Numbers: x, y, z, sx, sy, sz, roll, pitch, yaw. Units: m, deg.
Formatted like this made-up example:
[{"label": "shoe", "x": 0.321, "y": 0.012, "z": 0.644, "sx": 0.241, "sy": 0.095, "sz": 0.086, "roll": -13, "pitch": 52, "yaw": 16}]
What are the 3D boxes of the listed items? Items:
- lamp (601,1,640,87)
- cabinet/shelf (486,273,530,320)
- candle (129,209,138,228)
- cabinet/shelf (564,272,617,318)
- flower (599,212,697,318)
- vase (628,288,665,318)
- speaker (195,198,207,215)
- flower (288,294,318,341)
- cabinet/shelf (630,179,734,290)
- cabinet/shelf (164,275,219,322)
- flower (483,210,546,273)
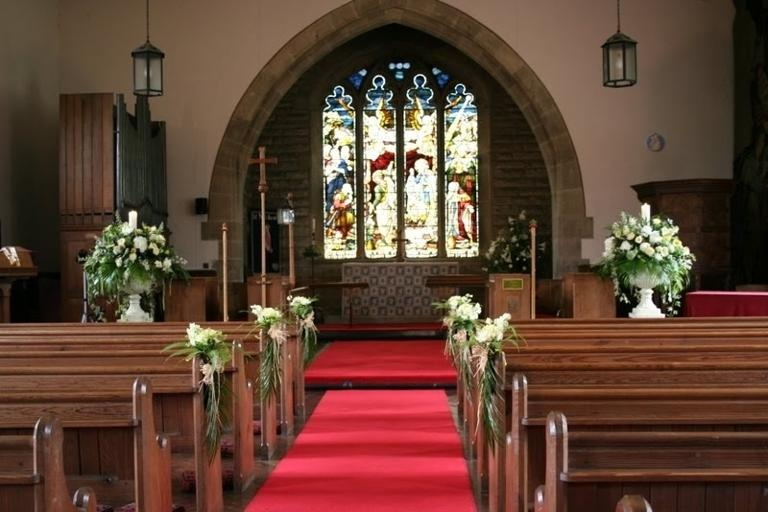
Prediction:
[{"label": "lamp", "x": 3.073, "y": -2.579, "z": 11.935, "sx": 0.409, "sy": 0.667, "sz": 0.382, "roll": -1, "pitch": 0, "yaw": 10}, {"label": "cabinet/shelf", "x": 1.658, "y": 0.581, "z": 11.629, "sx": 0.507, "sy": 0.779, "sz": 0.507, "roll": -1, "pitch": 6, "yaw": 0}, {"label": "candle", "x": -2.882, "y": -0.437, "z": 10.609, "sx": 0.072, "sy": 0.209, "sz": 0.200, "roll": -1, "pitch": 0, "yaw": -22}, {"label": "cabinet/shelf", "x": 2.513, "y": 0.458, "z": 11.382, "sx": 0.731, "sy": 0.697, "sz": 0.517, "roll": 0, "pitch": 0, "yaw": 6}, {"label": "flower", "x": 2.969, "y": 0.158, "z": 10.489, "sx": 0.956, "sy": 1.044, "sz": 0.948, "roll": -2, "pitch": -11, "yaw": 25}, {"label": "vase", "x": 2.939, "y": 0.542, "z": 10.309, "sx": 0.372, "sy": 0.367, "sz": 0.399, "roll": 0, "pitch": 0, "yaw": -15}, {"label": "speaker", "x": -2.745, "y": -0.777, "z": 13.934, "sx": 0.197, "sy": 0.240, "sz": 0.098, "roll": -1, "pitch": 0, "yaw": -7}, {"label": "flower", "x": -0.933, "y": 0.658, "z": 9.724, "sx": 0.335, "sy": 0.461, "sz": 0.326, "roll": -3, "pitch": 8, "yaw": -12}, {"label": "cabinet/shelf", "x": 4.272, "y": -0.261, "z": 13.149, "sx": 1.436, "sy": 1.672, "sz": 1.137, "roll": 1, "pitch": 2, "yaw": 9}, {"label": "cabinet/shelf", "x": -2.398, "y": 0.583, "z": 11.233, "sx": 0.500, "sy": 0.488, "sz": 0.360, "roll": 1, "pitch": -10, "yaw": -2}, {"label": "flower", "x": 2.228, "y": -0.274, "z": 15.571, "sx": 1.051, "sy": 0.809, "sz": 1.595, "roll": -1, "pitch": 0, "yaw": 7}]
